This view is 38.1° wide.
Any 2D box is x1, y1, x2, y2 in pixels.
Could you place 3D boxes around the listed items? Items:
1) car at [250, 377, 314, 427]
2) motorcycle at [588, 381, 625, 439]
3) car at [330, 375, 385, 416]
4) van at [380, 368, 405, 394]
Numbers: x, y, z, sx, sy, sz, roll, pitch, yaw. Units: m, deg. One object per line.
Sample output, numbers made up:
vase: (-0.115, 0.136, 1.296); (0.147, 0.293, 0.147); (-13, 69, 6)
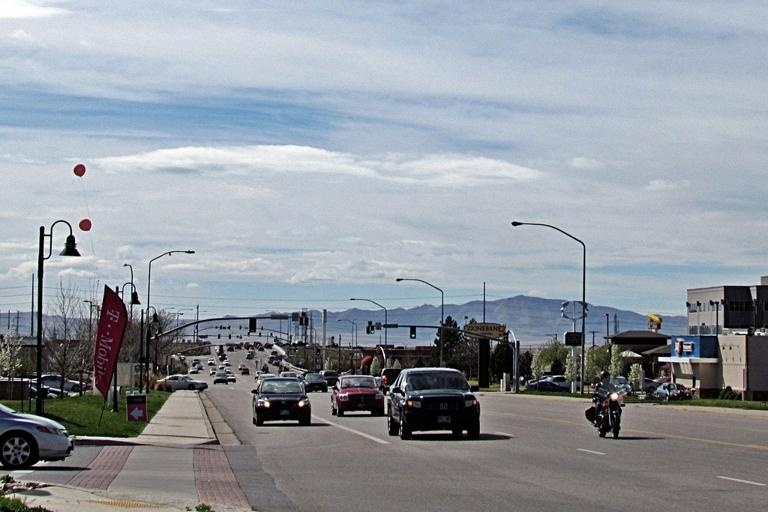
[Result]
car: (-4.254, 5.996, 45.513); (2.144, 1.953, 2.207); (3, -7, -20)
motorcycle: (7.726, 5.394, 38.585); (0.740, 1.610, 2.235); (0, -6, 0)
car: (-1.280, 6.458, 51.089); (1.654, 1.615, 3.530); (1, -6, -6)
van: (0.522, 8.373, 77.607); (1.617, 1.322, 3.516); (0, -1, 5)
